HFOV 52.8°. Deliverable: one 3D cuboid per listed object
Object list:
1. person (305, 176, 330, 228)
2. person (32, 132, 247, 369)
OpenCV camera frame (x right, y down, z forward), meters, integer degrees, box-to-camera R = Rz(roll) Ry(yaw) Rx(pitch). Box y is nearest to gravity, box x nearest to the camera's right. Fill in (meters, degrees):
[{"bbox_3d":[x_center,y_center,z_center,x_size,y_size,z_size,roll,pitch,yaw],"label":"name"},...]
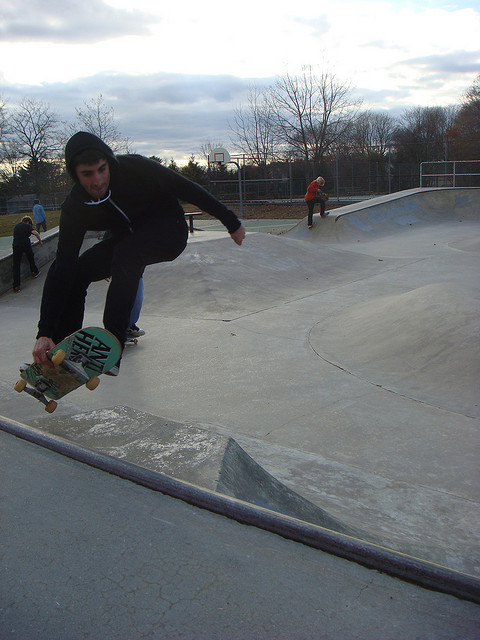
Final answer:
[{"bbox_3d":[2.133,-3.204,13.201,0.584,1.303,1.596,1,15,9],"label":"person"},{"bbox_3d":[-0.453,-0.233,2.354,0.909,1.014,0.683,6,-10,-12],"label":"person"}]
